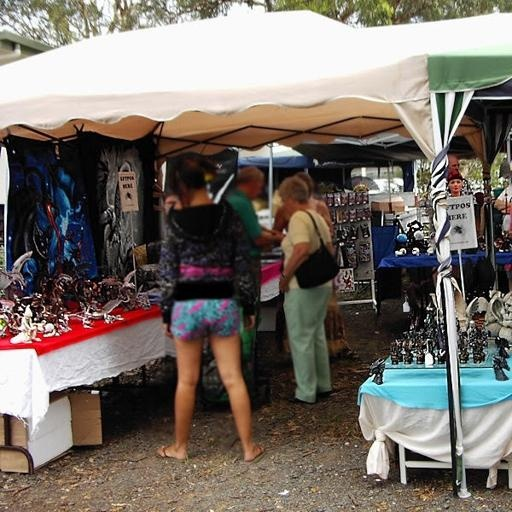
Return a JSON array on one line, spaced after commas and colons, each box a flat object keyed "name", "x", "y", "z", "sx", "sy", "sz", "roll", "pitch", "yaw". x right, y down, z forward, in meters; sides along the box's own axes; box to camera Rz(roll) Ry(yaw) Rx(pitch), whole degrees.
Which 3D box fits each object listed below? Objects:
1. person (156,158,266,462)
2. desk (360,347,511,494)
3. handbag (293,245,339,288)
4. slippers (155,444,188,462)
[{"name": "person", "x": -0.266, "y": 0.370, "z": 2.921, "sx": 0.531, "sy": 1.562, "sz": 0.446, "roll": -4, "pitch": 1, "yaw": -4}, {"name": "desk", "x": 0.936, "y": 0.886, "z": 2.608, "sx": 0.776, "sy": 0.453, "sz": 0.326, "roll": -3, "pitch": 1, "yaw": 13}, {"name": "handbag", "x": 0.439, "y": 0.083, "z": 3.847, "sx": 0.257, "sy": 0.337, "sz": 0.151, "roll": -15, "pitch": -7, "yaw": -24}, {"name": "slippers", "x": -0.546, "y": 1.255, "z": 3.269, "sx": 0.217, "sy": 0.091, "sz": 0.079, "roll": 13, "pitch": -8, "yaw": 26}]
